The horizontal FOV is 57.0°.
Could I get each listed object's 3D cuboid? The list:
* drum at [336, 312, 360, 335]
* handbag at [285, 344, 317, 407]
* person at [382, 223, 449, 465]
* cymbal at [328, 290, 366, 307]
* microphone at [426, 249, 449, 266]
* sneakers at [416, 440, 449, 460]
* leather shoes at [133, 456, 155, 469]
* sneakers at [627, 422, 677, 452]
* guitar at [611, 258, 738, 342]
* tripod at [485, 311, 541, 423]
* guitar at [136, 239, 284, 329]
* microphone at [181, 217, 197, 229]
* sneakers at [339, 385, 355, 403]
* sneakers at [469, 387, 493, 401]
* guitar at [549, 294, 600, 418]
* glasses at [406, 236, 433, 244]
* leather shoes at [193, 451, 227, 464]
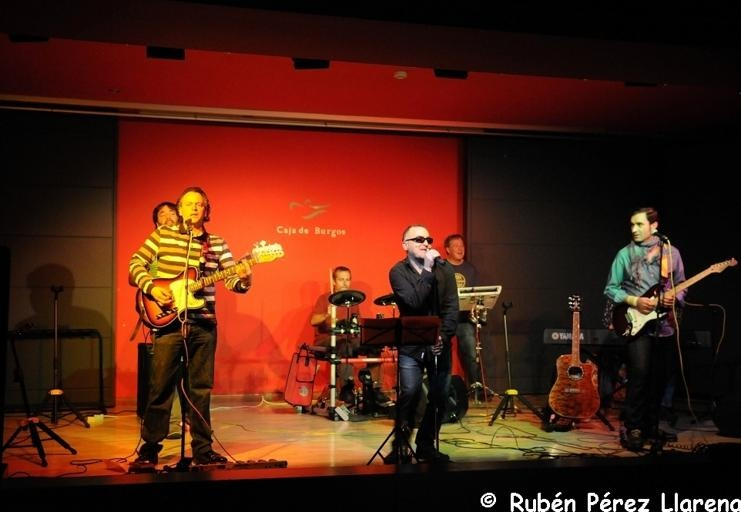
[{"bbox_3d":[-0.296,0.862,8.539,0.297,0.149,0.408,0,-1,0],"label":"drum"},{"bbox_3d":[-0.893,1.532,8.761,0.433,0.778,0.176,-3,-6,34],"label":"handbag"},{"bbox_3d":[0.489,0.828,6.525,0.696,2.269,0.510,0,-5,0],"label":"person"},{"bbox_3d":[-0.265,0.503,8.155,0.382,0.197,0.423,-1,-6,14],"label":"cymbal"},{"bbox_3d":[0.593,0.018,6.553,0.159,0.076,0.189,16,35,6],"label":"microphone"},{"bbox_3d":[0.589,1.886,6.512,0.319,0.151,0.222,0,-5,4],"label":"sneakers"},{"bbox_3d":[-2.154,1.954,6.426,0.236,0.088,0.198,0,-6,3],"label":"leather shoes"},{"bbox_3d":[2.892,1.926,7.179,0.692,0.294,0.235,5,-13,-14],"label":"sneakers"},{"bbox_3d":[3.515,0.529,7.899,1.053,0.346,0.122,-29,-16,6],"label":"guitar"},{"bbox_3d":[1.852,1.335,8.872,0.631,1.454,2.106,-1,-6,11],"label":"tripod"},{"bbox_3d":[-1.624,0.281,6.588,1.269,0.855,0.421,1,-5,-11],"label":"guitar"},{"bbox_3d":[-1.784,-0.324,6.644,0.136,0.038,0.102,16,-40,7],"label":"microphone"},{"bbox_3d":[-0.288,1.747,8.696,0.247,0.285,0.135,-3,-6,30],"label":"sneakers"},{"bbox_3d":[1.476,1.880,9.218,0.284,0.157,0.358,2,-10,4],"label":"sneakers"},{"bbox_3d":[2.303,1.150,7.785,0.534,1.363,0.270,-1,-5,11],"label":"guitar"},{"bbox_3d":[0.466,-0.153,6.555,0.295,0.072,0.149,-3,-6,25],"label":"glasses"},{"bbox_3d":[-1.524,1.926,6.440,0.360,0.143,0.134,-1,-8,0],"label":"leather shoes"}]
